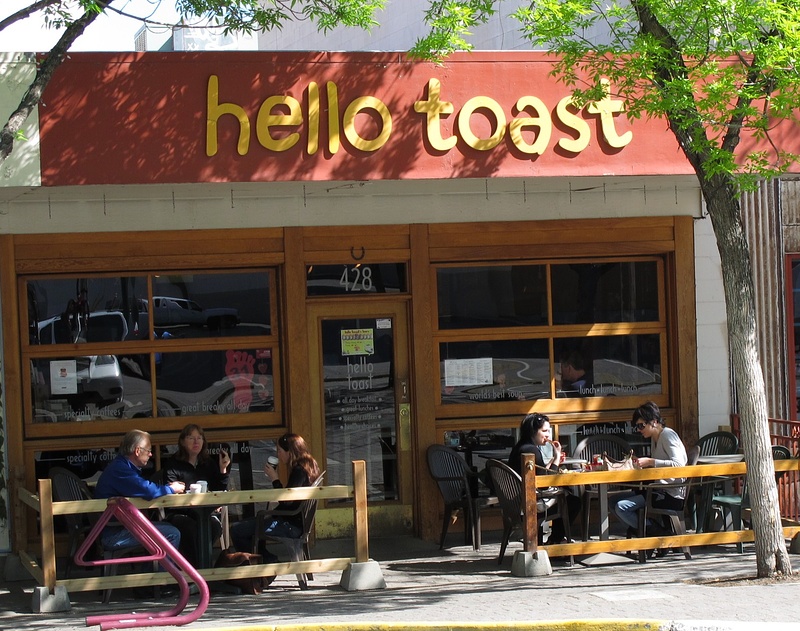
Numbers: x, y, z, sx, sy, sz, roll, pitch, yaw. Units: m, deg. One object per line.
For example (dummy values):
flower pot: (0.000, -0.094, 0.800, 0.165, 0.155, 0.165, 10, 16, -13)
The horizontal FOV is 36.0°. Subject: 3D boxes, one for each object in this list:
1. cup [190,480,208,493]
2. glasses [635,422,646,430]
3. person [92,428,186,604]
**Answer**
cup: (-2.022, 1.719, 12.272, 0.132, 0.070, 0.193, 1, -7, 1)
glasses: (2.558, 1.180, 13.071, 0.097, 0.045, 0.127, 1, -5, 10)
person: (-2.521, 1.953, 11.968, 0.943, 1.569, 0.711, -1, 1, -15)
